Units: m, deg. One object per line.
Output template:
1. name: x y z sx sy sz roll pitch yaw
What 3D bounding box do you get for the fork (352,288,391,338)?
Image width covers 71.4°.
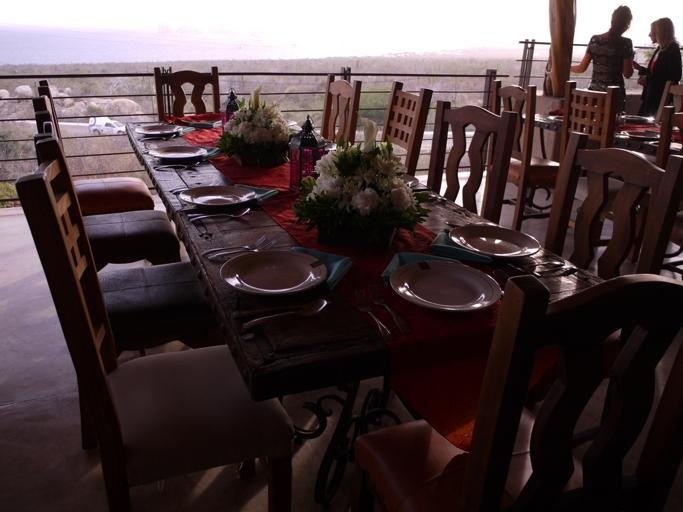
1. fork: 0.070 0.123 1.110 0.030 0.025 0.216 -19 22 -5
